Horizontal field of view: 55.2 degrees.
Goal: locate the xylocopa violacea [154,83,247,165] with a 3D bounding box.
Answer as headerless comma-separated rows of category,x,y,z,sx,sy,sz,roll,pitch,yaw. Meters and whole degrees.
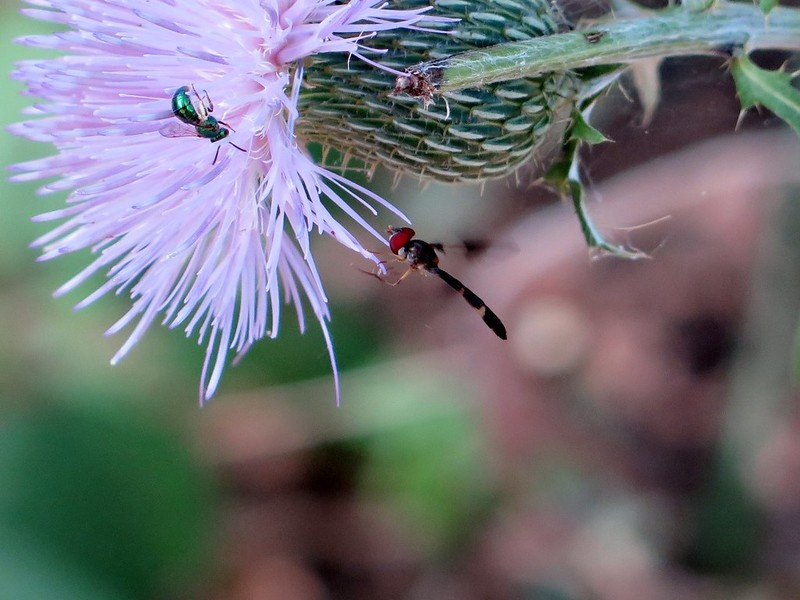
xylocopa violacea,-0.673,-0.612,2.687,0.302,0.117,0.219,21,-58,-23

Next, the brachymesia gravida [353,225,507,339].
brachymesia gravida,0.131,-0.073,3.232,0.734,0.705,0.189,41,-93,8
